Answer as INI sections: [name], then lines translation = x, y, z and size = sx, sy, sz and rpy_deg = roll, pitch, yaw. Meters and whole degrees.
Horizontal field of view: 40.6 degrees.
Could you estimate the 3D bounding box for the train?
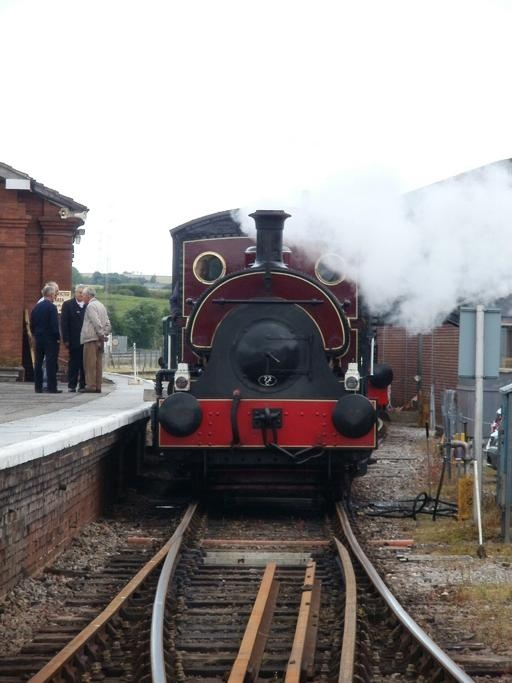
[train]
translation = 0.069, 0.113, 8.328
size = 2.483, 3.475, 2.811
rpy_deg = 1, -5, -5
